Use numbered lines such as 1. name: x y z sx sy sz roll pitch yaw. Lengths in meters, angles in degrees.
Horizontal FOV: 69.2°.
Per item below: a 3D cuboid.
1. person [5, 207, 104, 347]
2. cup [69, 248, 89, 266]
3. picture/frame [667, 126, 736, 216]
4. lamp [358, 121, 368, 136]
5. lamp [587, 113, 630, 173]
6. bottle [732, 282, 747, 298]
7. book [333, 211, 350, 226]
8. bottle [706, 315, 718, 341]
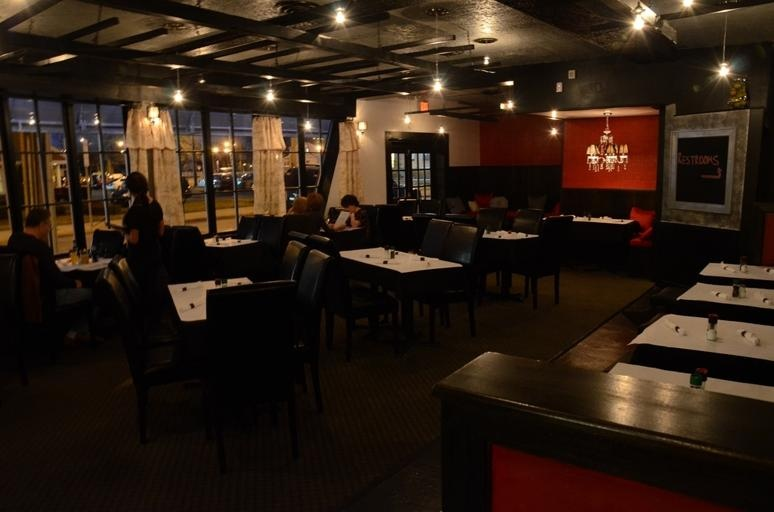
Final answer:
1. person: -3.600 0.272 6.041 0.686 1.546 1.024 3 11 1
2. cup: -3.644 0.013 6.664 0.232 0.246 0.151 -2 3 12
3. picture/frame: 4.326 -1.205 7.669 0.097 1.412 1.228 -5 8 -26
4. lamp: -0.520 -2.748 11.845 0.198 0.289 0.478 3 11 -1
5. lamp: 4.218 -2.216 10.771 0.728 1.004 0.762 -10 12 -39
6. bottle: 3.192 0.293 5.116 0.117 0.157 0.120 -3 8 0
7. book: -0.724 -0.642 9.198 0.061 0.232 0.252 25 -9 -39
8. bottle: 2.448 0.520 4.215 0.075 0.168 0.225 10 13 29
